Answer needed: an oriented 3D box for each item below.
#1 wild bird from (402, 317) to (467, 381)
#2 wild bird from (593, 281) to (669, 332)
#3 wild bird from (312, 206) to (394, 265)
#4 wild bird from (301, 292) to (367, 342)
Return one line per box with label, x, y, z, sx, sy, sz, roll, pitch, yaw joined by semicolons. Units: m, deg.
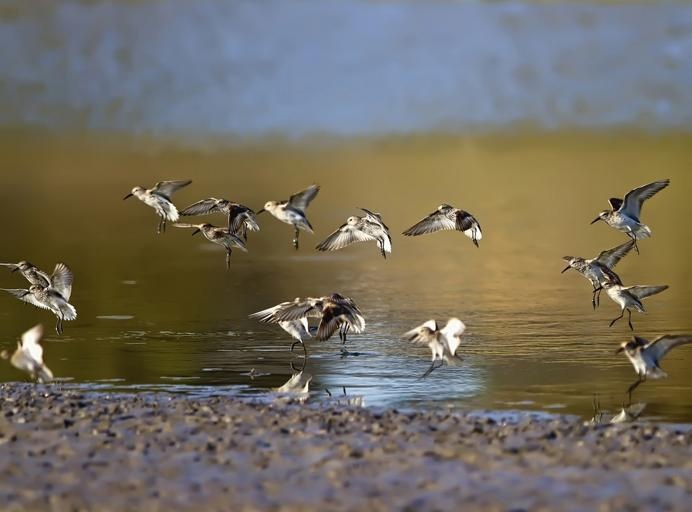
wild bird;1.950;1.835;19.569;1.004;0.799;1.654;23;15;37
wild bird;6.556;1.132;22.666;1.351;0.896;2.396;16;-9;-11
wild bird;0.295;-0.611;22.763;1.131;1.053;1.960;-4;9;-29
wild bird;-0.118;1.495;21.432;1.201;1.227;2.362;2;8;10
